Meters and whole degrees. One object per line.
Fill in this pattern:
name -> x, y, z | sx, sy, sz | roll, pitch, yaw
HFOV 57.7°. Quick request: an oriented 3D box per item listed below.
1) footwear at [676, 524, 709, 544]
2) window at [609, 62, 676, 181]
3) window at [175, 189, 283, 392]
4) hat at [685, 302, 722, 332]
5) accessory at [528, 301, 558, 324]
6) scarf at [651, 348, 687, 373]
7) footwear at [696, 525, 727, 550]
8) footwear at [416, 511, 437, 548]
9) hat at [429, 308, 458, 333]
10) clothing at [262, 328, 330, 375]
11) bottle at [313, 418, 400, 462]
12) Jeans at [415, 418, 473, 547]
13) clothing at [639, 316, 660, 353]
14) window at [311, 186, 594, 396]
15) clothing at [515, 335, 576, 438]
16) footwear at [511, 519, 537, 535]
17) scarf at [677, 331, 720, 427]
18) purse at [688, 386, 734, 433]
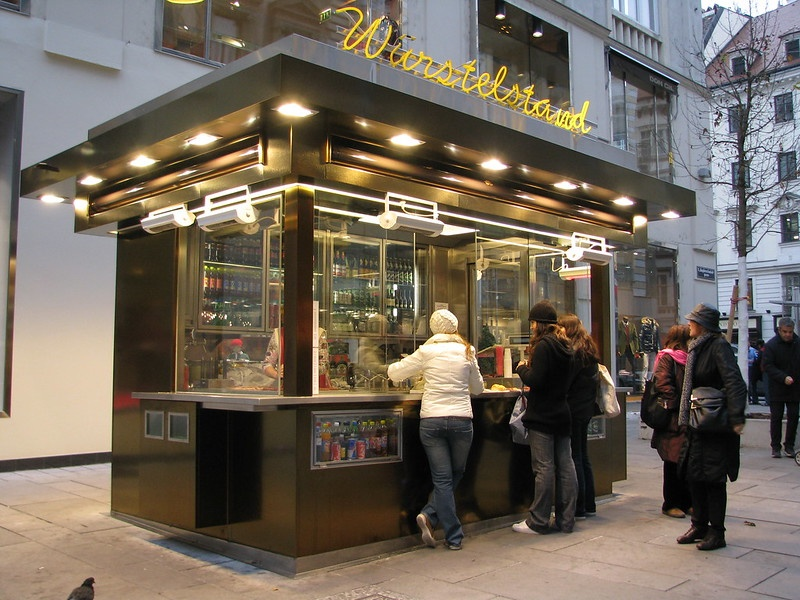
footwear -> 2.823, 2.227, 6.899 | 0.370, 0.143, 0.116 | -6, -10, 3
window -> 6.529, -4.410, 19.301 | 0.396, 3.431, 3.856 | -7, -1, 43
window -> -1.636, -0.083, 7.094 | 2.079, 2.104, 0.096 | -7, -10, 41
hat -> 2.905, 0.207, 6.825 | 0.310, 0.150, 0.274 | 21, 3, -9
accessory -> 1.502, 0.146, 7.576 | 0.217, 0.174, 0.257 | -1, -14, 44
scarf -> 2.791, 0.638, 7.581 | 0.305, 0.268, 0.204 | -2, -1, 4
footwear -> 2.869, 2.202, 6.667 | 0.396, 0.171, 0.129 | 12, -17, -35
footwear -> 0.255, 2.165, 6.866 | 0.139, 0.377, 0.160 | -18, 7, 27
hat -> 0.427, 0.224, 7.265 | 0.220, 0.222, 0.262 | 0, 5, -17
clothing -> -0.946, 0.502, 6.723 | 0.611, 0.521, 0.298 | 0, -20, 3
bottle -> -0.432, 1.268, 6.570 | 0.524, 0.227, 0.198 | 5, -3, -41
Jeans -> 0.428, 1.699, 6.861 | 0.489, 1.204, 0.242 | 0, -2, 3
clothing -> 5.878, 0.876, 17.504 | 0.680, 0.840, 0.891 | 1, 6, 24
window -> 0.579, -0.106, 8.426 | 3.468, 2.017, 1.762 | -4, -3, -37
clothing -> 1.459, 0.865, 7.318 | 0.523, 1.034, 0.314 | 0, -2, 9
footwear -> 1.263, 2.320, 7.430 | 0.245, 0.088, 0.091 | -2, -8, 41
scarf -> 2.695, 0.746, 6.775 | 0.281, 0.709, 0.538 | 5, -3, 6
purse -> 2.774, 0.991, 6.505 | 0.340, 0.393, 0.150 | -1, -2, 20
